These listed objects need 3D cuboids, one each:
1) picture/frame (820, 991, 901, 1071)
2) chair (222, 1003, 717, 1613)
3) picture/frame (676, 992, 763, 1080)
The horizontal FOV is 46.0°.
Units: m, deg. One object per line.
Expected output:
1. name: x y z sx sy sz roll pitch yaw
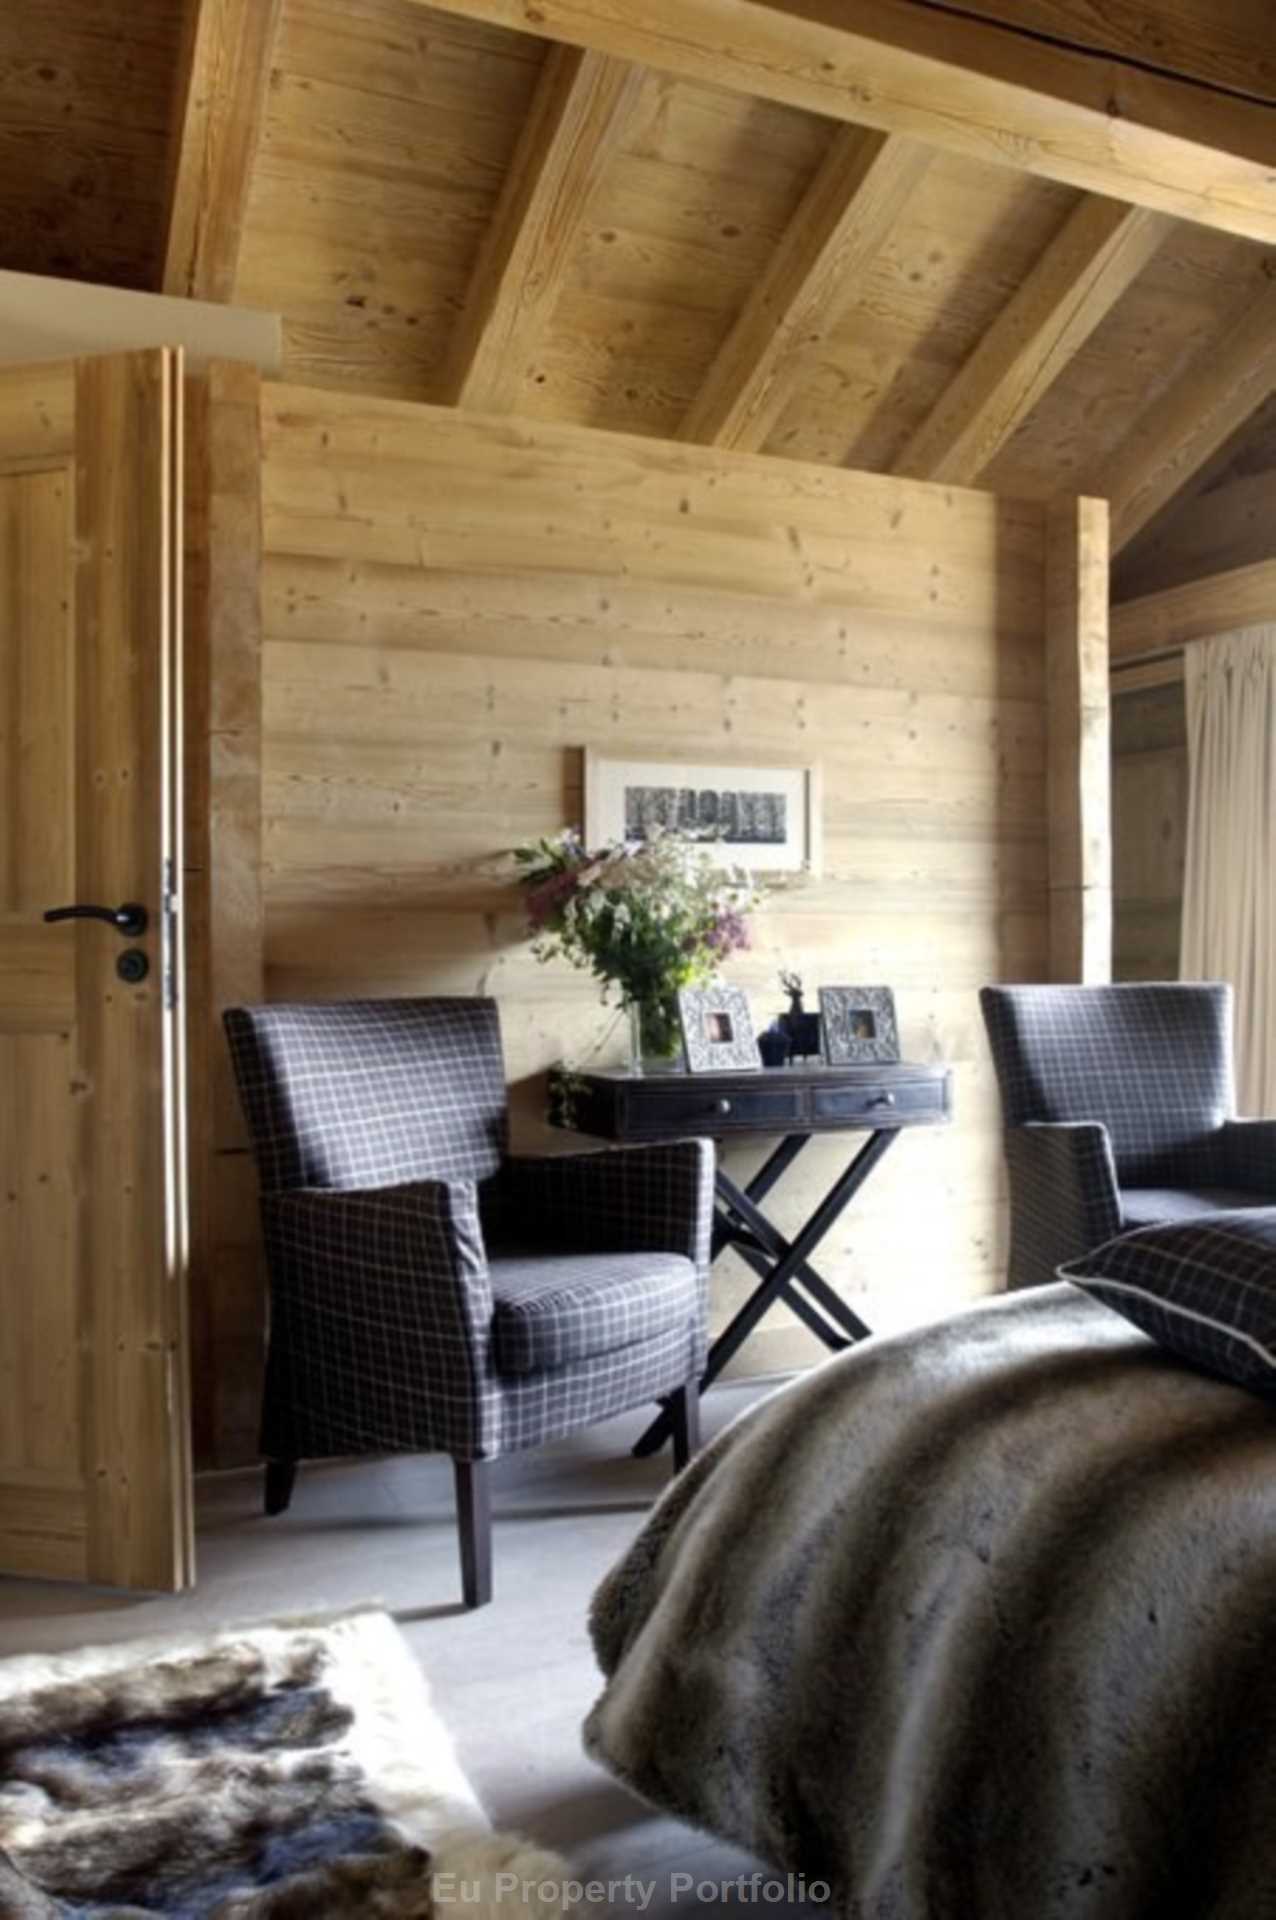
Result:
1. picture/frame: 0.499 0.168 3.439 0.173 0.152 0.020 7 -22 -27
2. chair: -0.204 0.551 3.034 0.953 1.205 0.972 -2 -1 37
3. picture/frame: 0.171 0.158 3.216 0.192 0.168 0.047 2 -19 -34
